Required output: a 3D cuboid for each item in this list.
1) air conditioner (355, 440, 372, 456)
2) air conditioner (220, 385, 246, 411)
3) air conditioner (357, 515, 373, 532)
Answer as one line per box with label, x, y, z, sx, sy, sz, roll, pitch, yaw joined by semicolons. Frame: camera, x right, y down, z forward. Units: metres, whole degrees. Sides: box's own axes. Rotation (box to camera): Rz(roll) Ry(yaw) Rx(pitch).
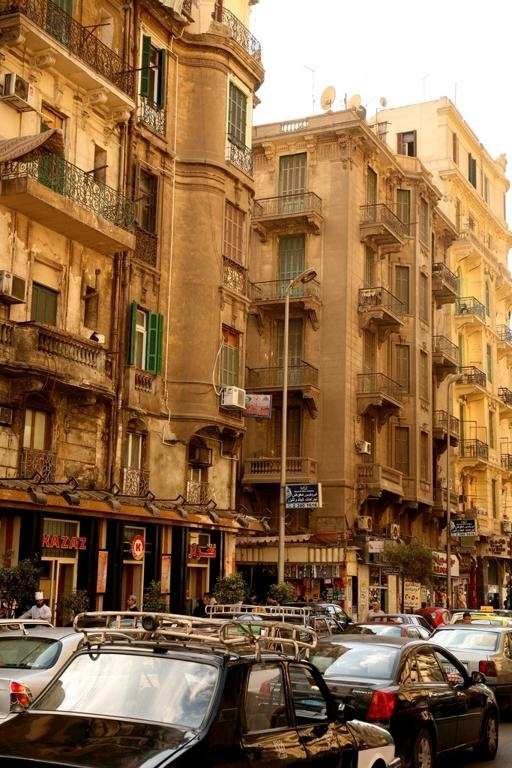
air conditioner;5.087;3.238;41.337;0.630;0.915;1.213;-3;-8;22
air conditioner;-0.831;0.416;29.193;0.612;0.742;1.028;-3;-14;17
air conditioner;4.980;6.570;39.896;0.566;0.792;1.059;-2;-7;12
